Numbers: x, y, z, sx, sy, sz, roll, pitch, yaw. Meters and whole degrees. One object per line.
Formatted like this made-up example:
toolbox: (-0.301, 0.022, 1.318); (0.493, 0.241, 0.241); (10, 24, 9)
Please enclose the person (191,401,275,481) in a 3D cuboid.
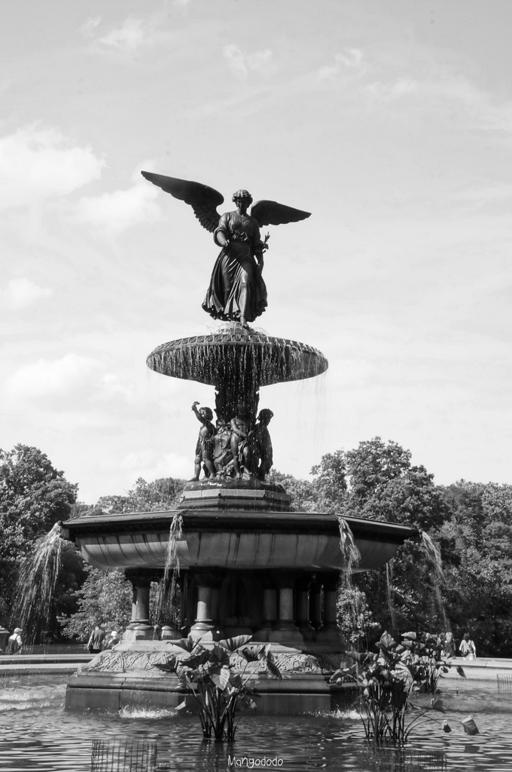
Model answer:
person: (-0.299, 0.762, 13.746); (1.161, 1.363, 0.424); (2, -40, -4)
